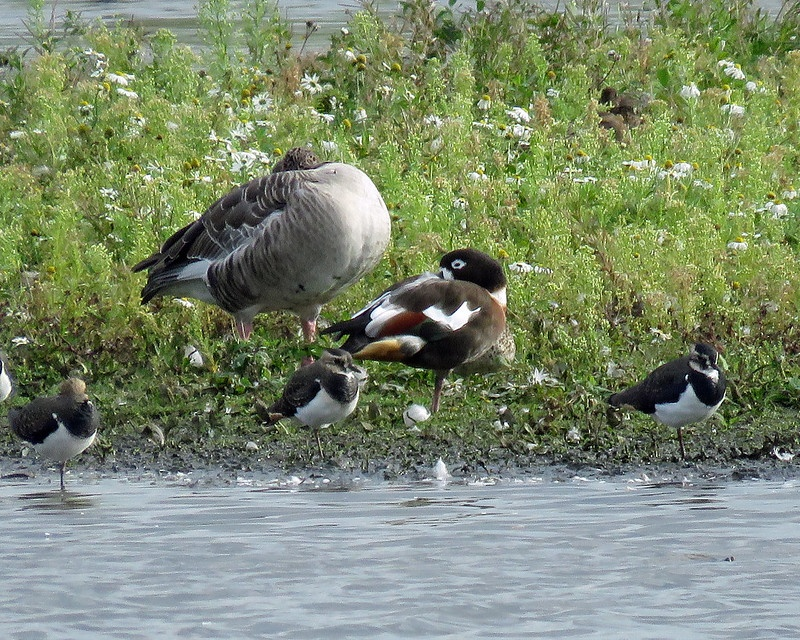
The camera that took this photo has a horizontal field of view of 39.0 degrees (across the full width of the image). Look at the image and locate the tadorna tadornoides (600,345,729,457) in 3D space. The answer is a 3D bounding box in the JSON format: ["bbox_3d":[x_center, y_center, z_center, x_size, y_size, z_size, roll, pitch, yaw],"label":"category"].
[{"bbox_3d":[1.780,0.439,7.472,0.279,0.636,0.695,-8,12,-42],"label":"tadorna tadornoides"}]

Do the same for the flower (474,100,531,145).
[{"bbox_3d":[1.253,-2.193,12.656,0.594,0.293,0.608,19,12,38],"label":"flower"}]

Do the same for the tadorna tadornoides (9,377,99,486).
[{"bbox_3d":[-2.192,0.681,7.266,0.349,0.616,0.904,-5,16,-30],"label":"tadorna tadornoides"}]

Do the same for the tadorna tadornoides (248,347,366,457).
[{"bbox_3d":[-0.611,0.549,7.691,0.872,0.754,0.405,5,11,35],"label":"tadorna tadornoides"}]

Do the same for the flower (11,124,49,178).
[{"bbox_3d":[-3.921,-1.865,11.996,0.523,0.591,0.307,3,16,12],"label":"flower"}]
